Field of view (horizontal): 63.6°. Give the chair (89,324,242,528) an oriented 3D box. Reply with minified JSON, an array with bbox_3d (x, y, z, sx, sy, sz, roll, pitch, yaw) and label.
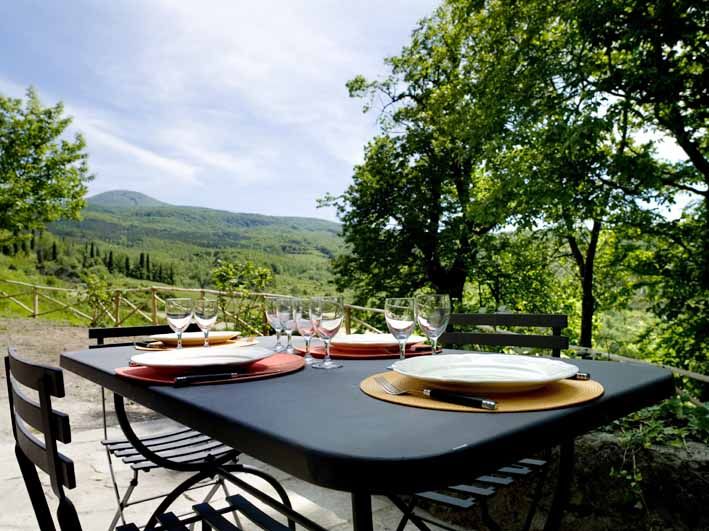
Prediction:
[{"bbox_3d":[-0.789,0.882,2.735,0.526,0.612,0.515,14,-2,-14],"label":"chair"}]

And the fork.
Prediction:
[{"bbox_3d":[0.260,0.438,1.953,0.427,0.054,0.046,6,-17,25],"label":"fork"}]

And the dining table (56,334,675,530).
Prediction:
[{"bbox_3d":[0.000,0.506,2.118,2.225,0.378,0.871,3,-5,18],"label":"dining table"}]
